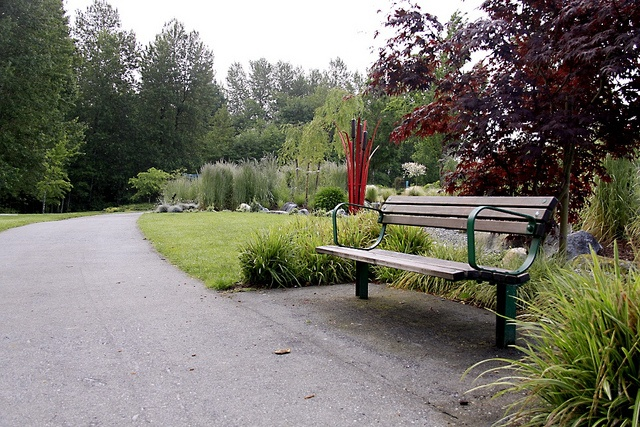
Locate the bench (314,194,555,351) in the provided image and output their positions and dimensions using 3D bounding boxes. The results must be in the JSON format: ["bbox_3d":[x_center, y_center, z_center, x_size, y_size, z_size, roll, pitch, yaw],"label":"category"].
[{"bbox_3d":[1.656,0.513,6.367,2.850,1.651,2.540,6,5,41],"label":"bench"}]
